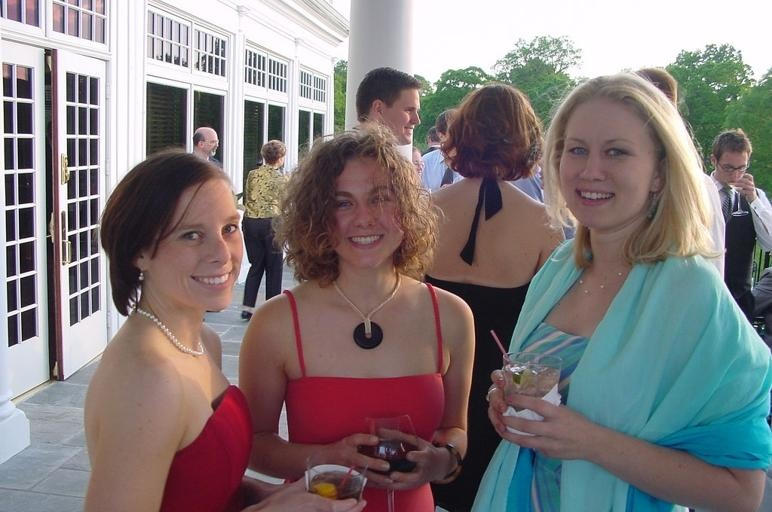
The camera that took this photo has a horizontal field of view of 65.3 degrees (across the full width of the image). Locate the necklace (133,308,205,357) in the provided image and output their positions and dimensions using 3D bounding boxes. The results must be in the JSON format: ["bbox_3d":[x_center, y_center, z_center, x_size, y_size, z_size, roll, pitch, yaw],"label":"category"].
[{"bbox_3d":[-0.812,0.301,2.282,0.051,0.220,0.166,-40,10,10],"label":"necklace"}]

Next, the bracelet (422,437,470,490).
[{"bbox_3d":[0.246,0.907,2.645,0.056,0.214,0.215,9,-2,19],"label":"bracelet"}]

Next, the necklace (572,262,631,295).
[{"bbox_3d":[0.900,0.099,2.509,0.042,0.151,0.154,26,31,-30],"label":"necklace"}]

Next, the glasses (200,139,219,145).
[{"bbox_3d":[-2.499,-1.594,8.414,0.157,0.050,0.155,0,7,14],"label":"glasses"}]
